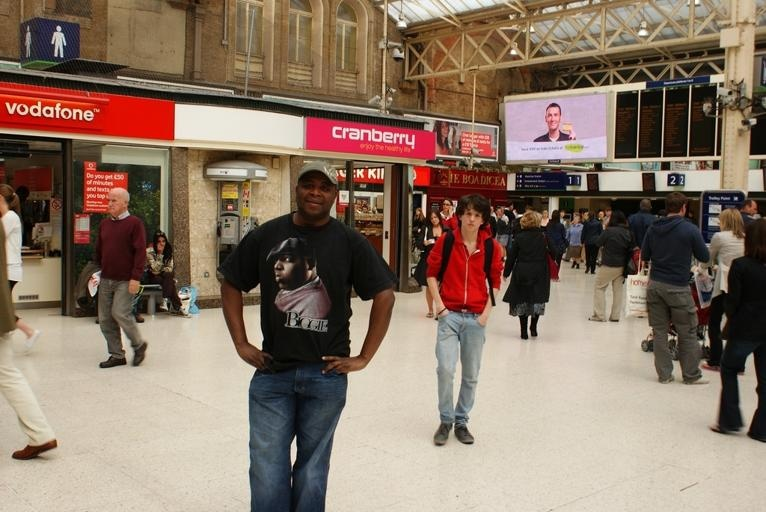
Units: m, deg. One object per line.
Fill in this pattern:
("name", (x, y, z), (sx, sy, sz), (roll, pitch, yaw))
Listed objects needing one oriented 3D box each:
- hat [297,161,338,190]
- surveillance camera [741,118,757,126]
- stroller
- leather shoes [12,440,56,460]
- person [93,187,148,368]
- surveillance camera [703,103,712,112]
("hat", (-0.423, -0.524, 4.005), (0.155, 0.215, 0.212), (3, 0, -1))
("surveillance camera", (6.675, -2.432, 11.184), (0.171, 0.142, 0.259), (0, 10, 16))
("stroller", (4.394, 0.891, 9.114), (0.894, 1.061, 0.689), (-8, -12, 37))
("leather shoes", (-3.099, 1.730, 5.506), (0.366, 0.159, 0.137), (-8, 5, -17))
("person", (-3.410, 0.299, 8.046), (0.625, 2.314, 0.401), (0, 7, -7))
("surveillance camera", (6.161, -2.788, 11.659), (0.150, 0.227, 0.523), (5, 9, 26))
